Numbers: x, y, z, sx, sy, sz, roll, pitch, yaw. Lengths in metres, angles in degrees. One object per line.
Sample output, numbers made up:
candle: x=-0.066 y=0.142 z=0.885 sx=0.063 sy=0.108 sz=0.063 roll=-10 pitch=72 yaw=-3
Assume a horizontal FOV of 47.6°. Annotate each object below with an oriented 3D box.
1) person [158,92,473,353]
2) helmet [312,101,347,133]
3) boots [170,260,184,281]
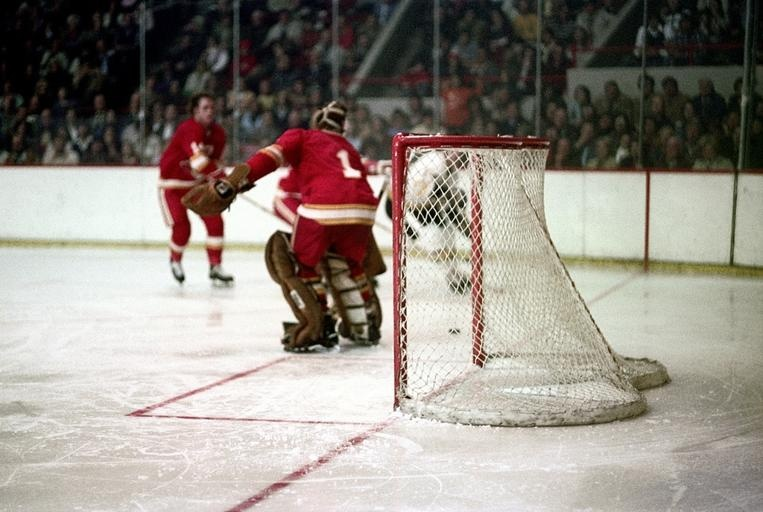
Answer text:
person: x=-0.485 y=-0.200 z=5.703 sx=1.331 sy=1.606 sz=0.548 roll=-7 pitch=13 yaw=-33
helmet: x=-0.346 y=-0.920 z=5.797 sx=0.243 sy=0.173 sz=0.107 roll=1 pitch=-29 yaw=24
boots: x=-1.961 y=0.143 z=8.284 sx=0.125 sy=0.206 sz=0.054 roll=-12 pitch=6 yaw=-32
